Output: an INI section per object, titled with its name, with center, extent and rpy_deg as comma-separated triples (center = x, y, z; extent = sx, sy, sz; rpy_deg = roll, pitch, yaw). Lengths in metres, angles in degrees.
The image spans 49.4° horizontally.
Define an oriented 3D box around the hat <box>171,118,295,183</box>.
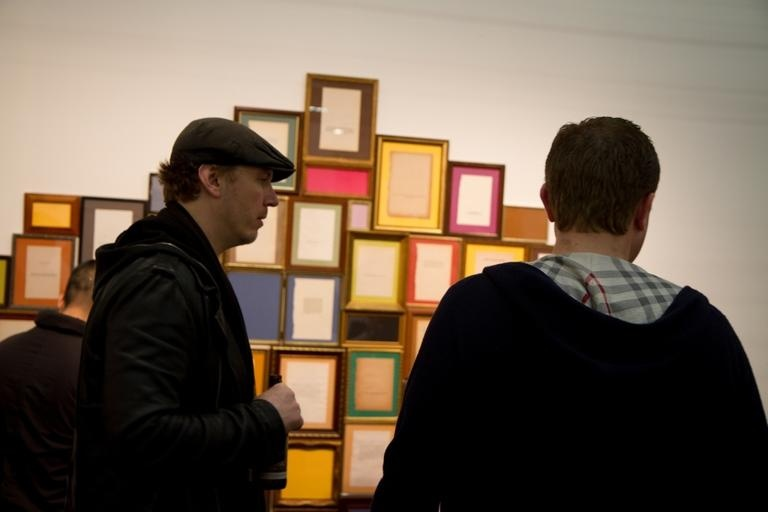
[hat]
center = -0.531, -0.389, 2.944
extent = 0.444, 0.185, 0.314
rpy_deg = 7, -1, -1
